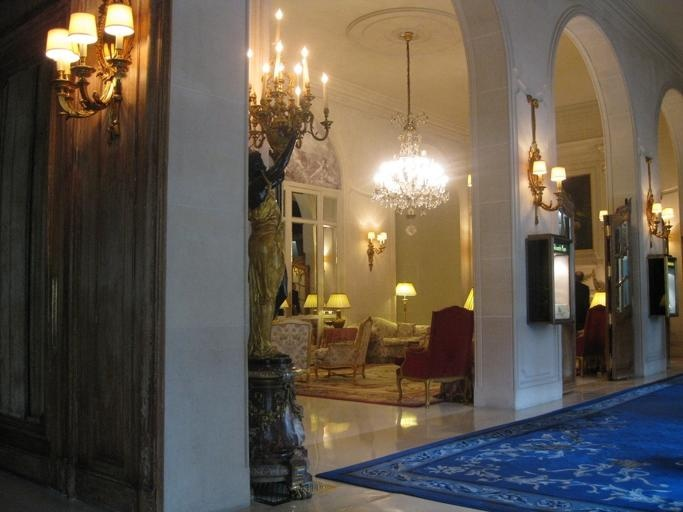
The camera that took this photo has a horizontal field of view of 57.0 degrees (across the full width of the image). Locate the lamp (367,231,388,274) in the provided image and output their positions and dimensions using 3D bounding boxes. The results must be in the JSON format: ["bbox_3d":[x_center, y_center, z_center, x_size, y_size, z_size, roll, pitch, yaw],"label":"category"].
[{"bbox_3d":[0.864,-0.126,14.764,0.349,0.917,0.704,-11,-13,42],"label":"lamp"}]

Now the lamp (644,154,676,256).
[{"bbox_3d":[6.063,-0.966,12.098,0.407,1.731,1.324,-8,-11,30],"label":"lamp"}]

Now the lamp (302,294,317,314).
[{"bbox_3d":[-0.629,1.027,13.384,0.315,0.387,0.336,-1,-1,23],"label":"lamp"}]

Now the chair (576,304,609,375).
[{"bbox_3d":[4.462,1.502,11.279,0.532,1.209,1.382,-6,-11,22],"label":"chair"}]

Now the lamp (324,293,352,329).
[{"bbox_3d":[-0.082,1.177,13.266,0.520,0.725,0.546,-1,-9,-2],"label":"lamp"}]

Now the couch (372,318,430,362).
[{"bbox_3d":[1.314,1.897,14.142,1.460,1.005,0.854,1,-8,-10],"label":"couch"}]

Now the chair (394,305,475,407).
[{"bbox_3d":[1.240,1.305,8.430,0.967,1.339,1.012,-1,-3,33],"label":"chair"}]

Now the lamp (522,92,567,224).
[{"bbox_3d":[2.840,-1.297,8.805,0.461,1.776,1.206,-6,-11,21],"label":"lamp"}]

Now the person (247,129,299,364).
[{"bbox_3d":[-0.573,-0.086,5.139,0.387,1.766,0.327,-1,-10,-9],"label":"person"}]
